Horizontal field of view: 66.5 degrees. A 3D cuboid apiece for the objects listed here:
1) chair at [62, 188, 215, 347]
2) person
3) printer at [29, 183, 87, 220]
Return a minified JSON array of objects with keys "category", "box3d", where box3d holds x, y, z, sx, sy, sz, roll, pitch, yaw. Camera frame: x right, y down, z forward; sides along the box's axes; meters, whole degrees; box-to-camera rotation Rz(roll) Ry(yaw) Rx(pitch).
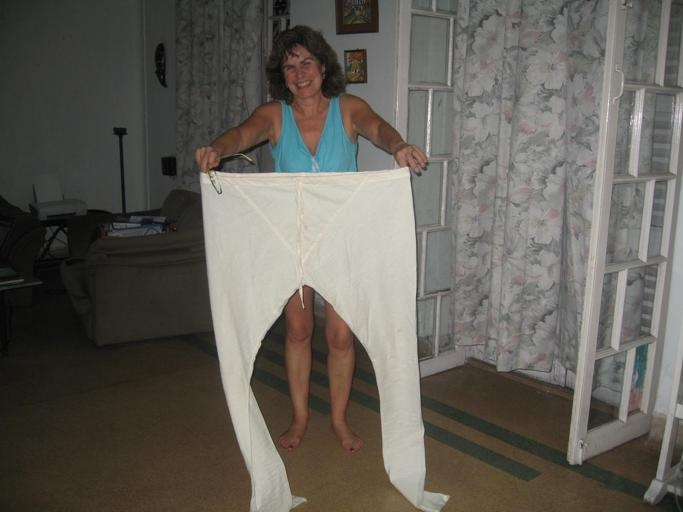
[{"category":"chair","box3d":[-1.590,-0.141,3.764,1.016,0.952,1.335,-4,24,-34]},{"category":"person","box3d":[-0.101,-0.019,2.236,0.809,1.846,0.619,0,14,2]},{"category":"printer","box3d":[-2.578,-0.498,4.765,0.298,0.211,0.294,22,25,38]}]
